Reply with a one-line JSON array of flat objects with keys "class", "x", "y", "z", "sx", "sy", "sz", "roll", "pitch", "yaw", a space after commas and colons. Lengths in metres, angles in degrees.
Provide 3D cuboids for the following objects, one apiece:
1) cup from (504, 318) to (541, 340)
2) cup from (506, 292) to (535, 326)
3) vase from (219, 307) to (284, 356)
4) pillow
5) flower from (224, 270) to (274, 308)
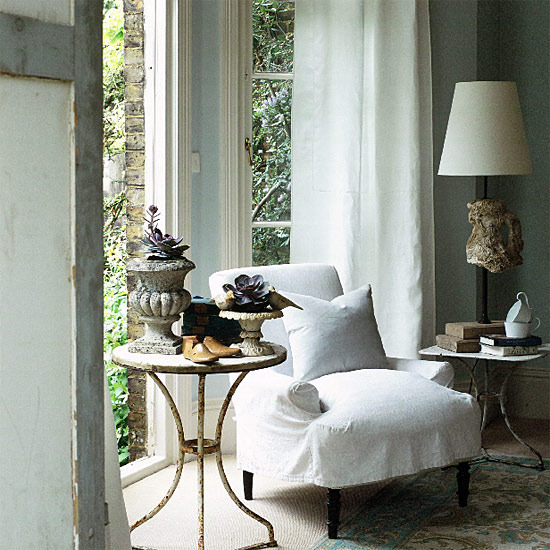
[{"class": "cup", "x": 1.080, "y": 0.232, "z": 3.297, "sx": 0.198, "sy": 0.114, "sz": 0.126, "roll": 3, "pitch": -7, "yaw": 3}, {"class": "cup", "x": 1.153, "y": 0.157, "z": 3.520, "sx": 0.069, "sy": 0.157, "sz": 0.102, "roll": 6, "pitch": 13, "yaw": -4}, {"class": "vase", "x": -0.077, "y": 0.169, "z": 2.292, "sx": 0.149, "sy": 0.098, "sz": 0.146, "roll": 0, "pitch": -3, "yaw": -17}, {"class": "pillow", "x": 0.204, "y": 0.220, "z": 2.789, "sx": 0.303, "sy": 0.263, "sz": 0.112, "roll": -10, "pitch": -23, "yaw": -20}, {"class": "flower", "x": -0.089, "y": 0.044, "z": 2.349, "sx": 0.122, "sy": 0.062, "sz": 0.147, "roll": 2, "pitch": 4, "yaw": -2}]
